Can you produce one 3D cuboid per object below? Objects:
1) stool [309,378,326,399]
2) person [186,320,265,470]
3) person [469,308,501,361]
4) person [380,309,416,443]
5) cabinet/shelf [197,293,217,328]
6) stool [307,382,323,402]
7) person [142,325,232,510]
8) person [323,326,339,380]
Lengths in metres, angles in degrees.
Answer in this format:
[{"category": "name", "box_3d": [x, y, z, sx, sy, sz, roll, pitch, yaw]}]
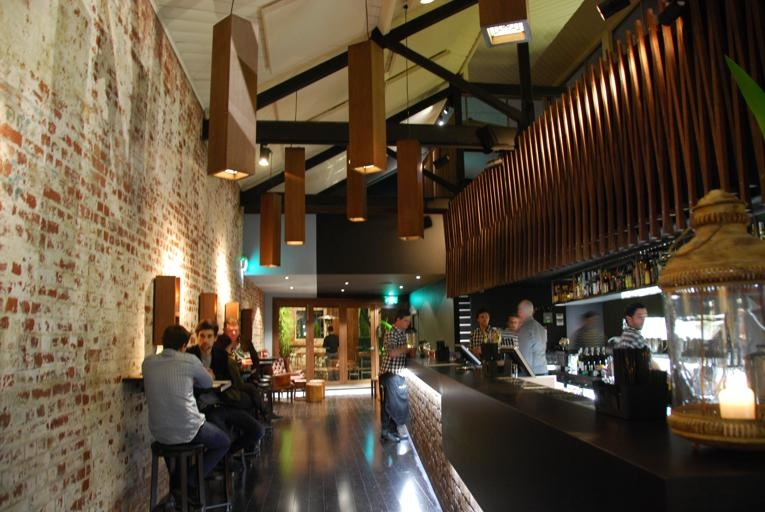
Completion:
[{"category": "stool", "box_3d": [-1.531, 3.068, 12.944, 0.420, 0.477, 0.456, 0, -5, -11]}, {"category": "person", "box_3d": [-1.883, 1.614, 6.724, 0.655, 1.891, 0.906, 9, -1, 43]}, {"category": "person", "box_3d": [1.476, 1.229, 8.142, 0.452, 0.902, 0.439, 1, -5, 3]}, {"category": "person", "box_3d": [0.187, 1.853, 8.696, 0.466, 2.011, 0.576, -2, 1, 0]}, {"category": "cabinet/shelf", "box_3d": [-2.306, 0.714, 7.296, 0.116, 0.422, 0.357, 2, -3, -12]}, {"category": "stool", "box_3d": [-1.572, 3.113, 12.885, 0.345, 0.378, 0.377, -1, -6, -4]}, {"category": "person", "box_3d": [-1.885, 1.491, 5.347, 0.542, 1.255, 0.817, -2, 1, 2]}, {"category": "person", "box_3d": [-1.295, 2.696, 15.945, 0.368, 1.541, 0.435, -10, 11, 18]}]
